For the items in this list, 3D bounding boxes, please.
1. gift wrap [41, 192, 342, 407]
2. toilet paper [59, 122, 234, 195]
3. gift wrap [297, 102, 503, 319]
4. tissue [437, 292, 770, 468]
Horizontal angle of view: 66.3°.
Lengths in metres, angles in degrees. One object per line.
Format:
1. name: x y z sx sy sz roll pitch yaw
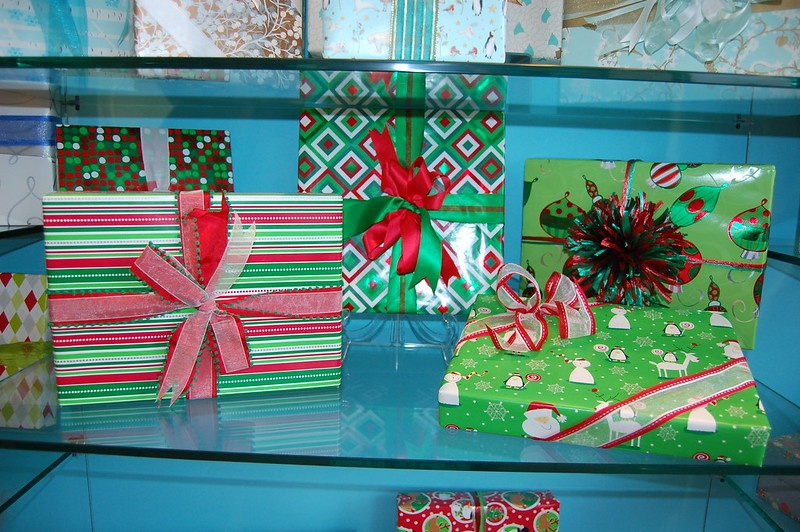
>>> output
1. gift wrap: -0.388 0.050 1.109 0.423 0.295 0.121 0 7 -10
2. toilet paper: -0.537 -0.220 1.358 0.390 0.081 0.190 -2 -8 -22
3. gift wrap: 0.018 -0.110 1.413 0.478 0.418 0.164 0 1 0
4. tissue: 0.398 0.190 1.124 0.414 0.076 0.267 2 21 15
